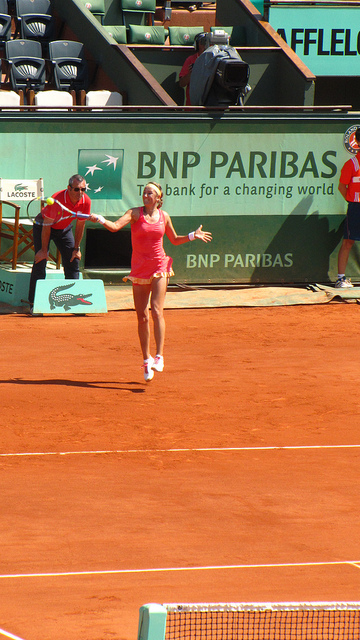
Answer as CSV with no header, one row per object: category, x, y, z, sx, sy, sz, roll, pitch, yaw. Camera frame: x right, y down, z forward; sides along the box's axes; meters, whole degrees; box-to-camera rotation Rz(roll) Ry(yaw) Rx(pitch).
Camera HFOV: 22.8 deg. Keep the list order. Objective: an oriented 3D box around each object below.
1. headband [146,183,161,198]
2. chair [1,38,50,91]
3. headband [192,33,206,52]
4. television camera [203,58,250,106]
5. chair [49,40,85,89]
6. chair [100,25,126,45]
headband,-0.240,-1.177,8.091,0.128,0.118,0.250,2,10,-3
chair,-2.802,-4.688,16.458,0.801,0.992,1.214,1,10,-10
headband,0.288,-4.713,15.166,0.208,0.246,0.188,13,4,24
television camera,0.608,-3.650,13.898,0.566,0.751,1.812,-1,12,-13
chair,-2.075,-4.683,16.591,0.725,1.036,0.619,-6,10,-22
chair,-1.275,-5.552,17.387,0.408,0.323,0.267,2,10,-5
